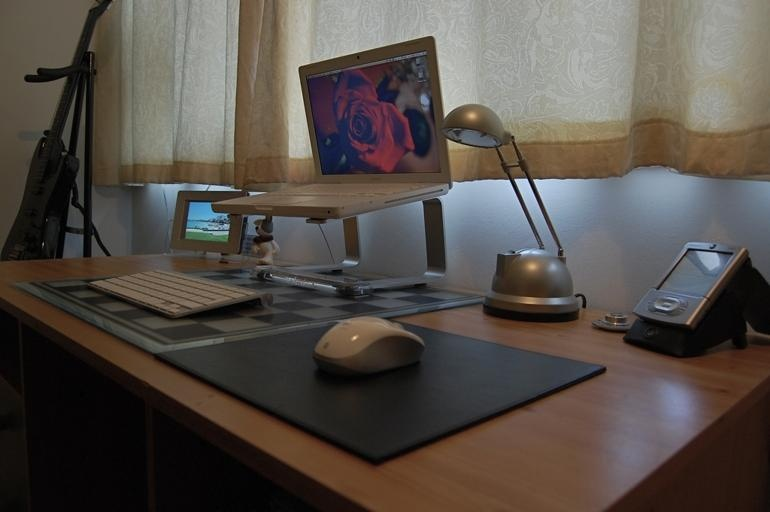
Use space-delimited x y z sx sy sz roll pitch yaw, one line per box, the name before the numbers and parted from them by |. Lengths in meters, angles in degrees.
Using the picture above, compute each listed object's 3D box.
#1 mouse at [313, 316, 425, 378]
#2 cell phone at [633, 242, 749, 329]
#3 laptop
mouse | -0.030 0.140 0.883 0.153 0.050 0.087 -2 6 -39
cell phone | 0.602 0.058 1.034 0.239 0.049 0.127 -41 28 -25
laptop | -0.170 -0.351 1.437 0.556 0.429 0.446 7 15 42
